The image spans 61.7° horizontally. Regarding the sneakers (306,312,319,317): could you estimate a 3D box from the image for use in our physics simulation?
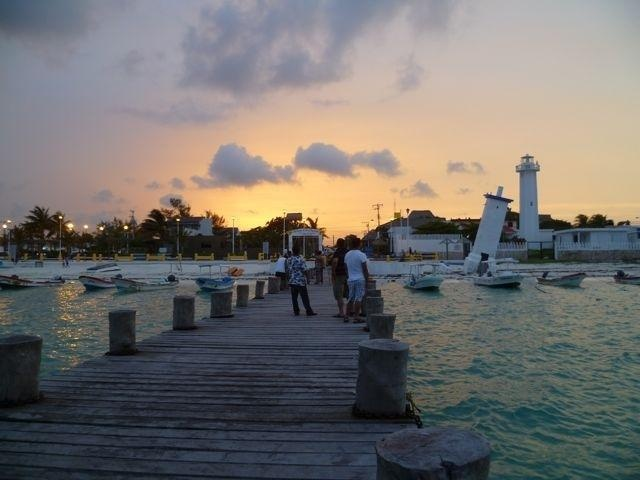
[{"bbox_3d":[-0.233,2.289,16.357,0.321,0.089,0.222,5,1,-13],"label":"sneakers"}]
